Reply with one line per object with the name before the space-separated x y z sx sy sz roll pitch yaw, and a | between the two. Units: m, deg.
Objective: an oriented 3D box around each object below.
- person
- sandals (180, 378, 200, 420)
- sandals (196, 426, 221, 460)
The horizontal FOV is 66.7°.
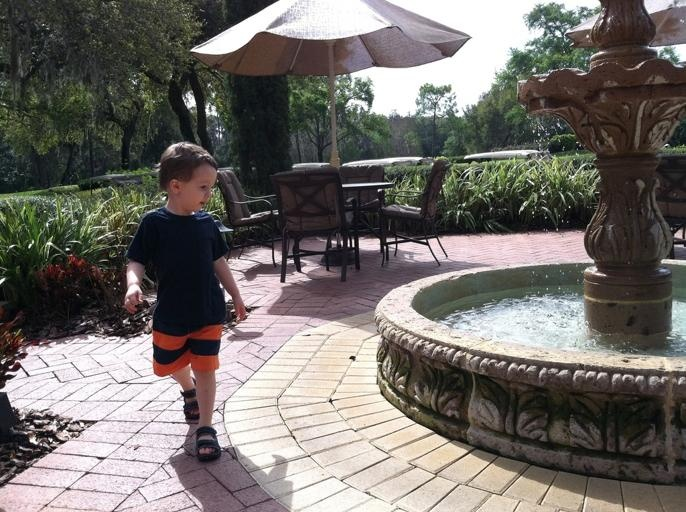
person | -0.810 0.212 2.681 0.567 1.563 0.536 -8 12 -25
sandals | -0.877 0.861 3.012 0.075 0.098 0.227 -3 4 -15
sandals | -0.682 0.948 2.626 0.075 0.079 0.208 0 -1 -13
